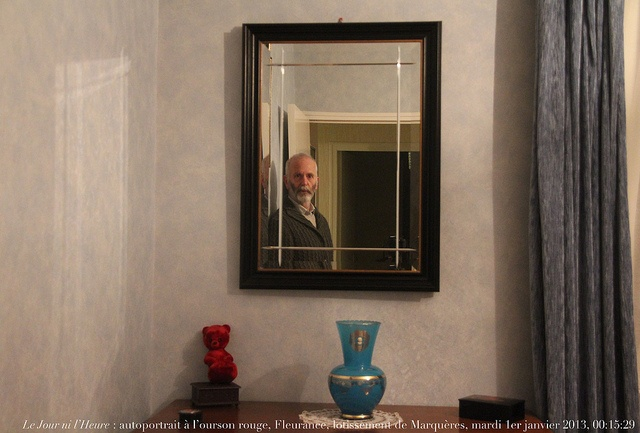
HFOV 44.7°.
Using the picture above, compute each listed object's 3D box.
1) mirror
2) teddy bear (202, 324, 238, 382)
[{"bbox_3d":[0.120,-0.226,3.270,1.031,1.437,0.061,0,0,-1],"label":"mirror"},{"bbox_3d":[-0.419,0.577,3.236,0.185,0.333,0.174,-1,-14,-9],"label":"teddy bear"}]
